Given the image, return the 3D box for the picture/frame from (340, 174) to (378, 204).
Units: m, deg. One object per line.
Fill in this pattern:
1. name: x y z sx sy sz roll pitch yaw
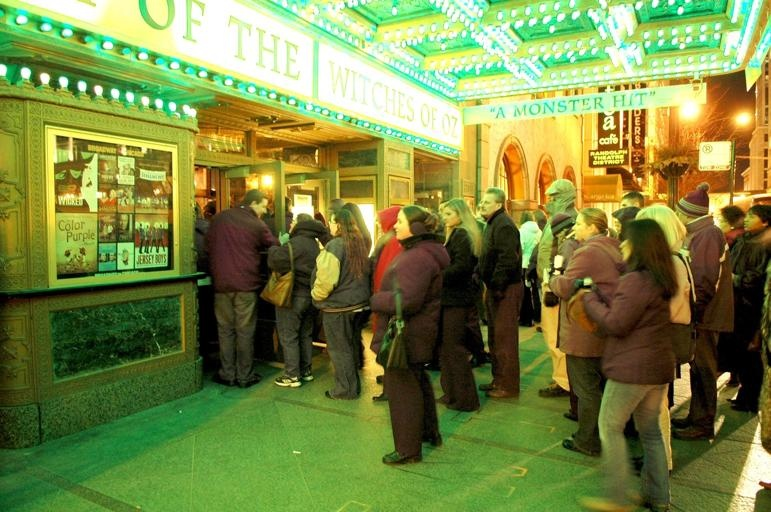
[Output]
1. picture/frame: -0.479 -1.304 11.216 0.886 0.599 0.122 1 1 35

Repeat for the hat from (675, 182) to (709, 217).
1. hat: 3.706 -0.691 6.991 0.380 0.374 0.346 2 18 28

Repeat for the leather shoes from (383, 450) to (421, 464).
1. leather shoes: 0.166 2.153 6.200 0.335 0.125 0.155 3 -5 -1

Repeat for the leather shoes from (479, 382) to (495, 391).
1. leather shoes: 1.384 1.778 7.940 0.079 0.087 0.228 -2 3 -27

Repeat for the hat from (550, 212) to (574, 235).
1. hat: 2.283 -0.429 7.596 0.316 0.196 0.215 -29 3 -28

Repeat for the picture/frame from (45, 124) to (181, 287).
1. picture/frame: -3.345 -0.618 7.016 0.106 2.173 2.013 7 10 43

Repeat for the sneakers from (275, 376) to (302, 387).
1. sneakers: -1.330 1.715 8.134 0.370 0.161 0.148 3 2 12

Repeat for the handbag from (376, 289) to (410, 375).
1. handbag: 0.105 0.774 6.014 0.260 0.837 0.285 -13 19 -43
